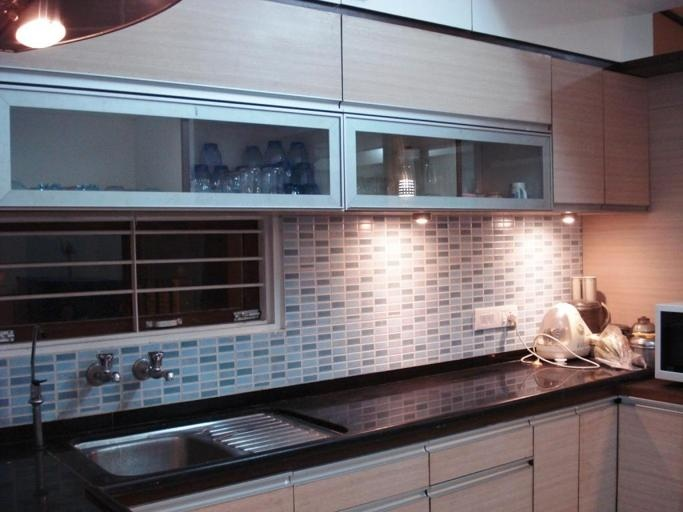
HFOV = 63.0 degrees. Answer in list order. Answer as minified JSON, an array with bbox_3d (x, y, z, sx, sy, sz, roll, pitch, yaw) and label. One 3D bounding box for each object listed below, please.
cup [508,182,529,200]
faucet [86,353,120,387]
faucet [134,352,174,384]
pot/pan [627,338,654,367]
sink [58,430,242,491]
[{"bbox_3d":[0.895,-0.325,2.758,0.068,0.097,0.104,-1,3,-11],"label":"cup"},{"bbox_3d":[-0.950,0.461,2.286,0.089,0.143,0.192,2,-6,-38],"label":"faucet"},{"bbox_3d":[-0.785,0.460,2.309,0.111,0.122,0.170,5,-3,-45],"label":"faucet"},{"bbox_3d":[1.667,0.535,3.065,0.140,0.121,0.136,-1,0,-3],"label":"pot/pan"},{"bbox_3d":[-0.758,0.770,2.125,0.364,0.143,0.274,6,-7,-43],"label":"sink"}]
